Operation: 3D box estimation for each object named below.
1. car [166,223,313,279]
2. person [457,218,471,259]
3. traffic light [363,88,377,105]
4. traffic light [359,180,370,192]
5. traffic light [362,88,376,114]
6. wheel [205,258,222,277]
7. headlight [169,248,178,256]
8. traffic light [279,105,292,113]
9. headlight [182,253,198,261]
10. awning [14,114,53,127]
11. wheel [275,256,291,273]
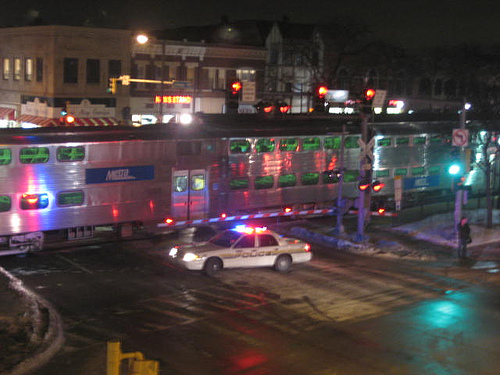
[{"bbox_3d":[-0.468,2.374,28.854,5.513,1.609,1.910,1,1,-18],"label":"car"},{"bbox_3d":[8.932,2.103,31.167,0.536,1.629,0.915,1,5,15],"label":"person"},{"bbox_3d":[5.312,-4.022,33.106,0.699,0.578,1.160,-6,14,24],"label":"traffic light"},{"bbox_3d":[5.064,-0.069,32.966,0.463,0.553,0.598,0,4,6],"label":"traffic light"},{"bbox_3d":[5.275,-3.839,33.118,0.561,1.134,1.163,0,4,9],"label":"traffic light"},{"bbox_3d":[-1.375,2.931,27.719,0.757,0.635,0.308,7,7,-25],"label":"wheel"},{"bbox_3d":[-2.892,2.430,28.250,0.286,0.248,0.074,18,-12,40],"label":"headlight"},{"bbox_3d":[2.044,-4.661,44.804,0.489,0.542,2.081,2,11,16],"label":"traffic light"},{"bbox_3d":[-2.215,2.556,27.503,0.519,0.255,0.173,2,5,25],"label":"headlight"},{"bbox_3d":[-17.098,-5.379,59.036,1.779,0.955,6.335,-3,5,-31],"label":"awning"},{"bbox_3d":[1.241,2.901,28.560,0.767,0.646,0.236,0,12,-32],"label":"wheel"}]
